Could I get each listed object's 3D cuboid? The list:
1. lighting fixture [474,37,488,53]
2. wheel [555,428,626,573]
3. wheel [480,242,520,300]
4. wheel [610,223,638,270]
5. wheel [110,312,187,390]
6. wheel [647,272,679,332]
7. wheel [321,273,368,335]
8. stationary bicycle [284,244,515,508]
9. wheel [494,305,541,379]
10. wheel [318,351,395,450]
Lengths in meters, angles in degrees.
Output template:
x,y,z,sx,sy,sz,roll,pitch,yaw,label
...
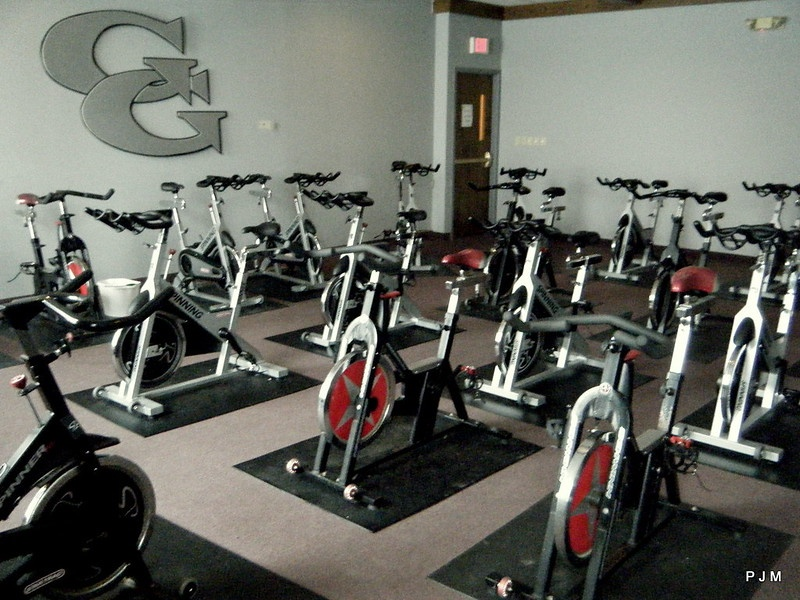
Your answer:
x,y,z,sx,sy,sz,roll,pitch,yaw,label
1.305,-4.032,9.719,0.375,0.227,0.096,-7,13,-40,lighting fixture
0.712,0.768,2.308,0.368,0.508,0.113,-16,25,-41,wheel
1.061,-0.264,6.327,0.220,0.557,0.617,5,7,-23,wheel
2.894,-0.683,7.845,0.279,0.577,0.479,9,20,26,wheel
-1.615,0.333,3.955,0.108,0.491,0.638,19,8,34,wheel
2.257,0.039,5.217,0.087,0.481,0.442,8,39,34,wheel
-0.504,0.024,5.155,0.122,0.446,0.526,18,17,41,wheel
-0.333,0.382,3.733,1.077,1.209,1.543,9,12,42,stationary bicycle
0.802,0.301,4.109,0.100,0.497,0.575,7,11,45,wheel
-0.221,0.550,3.254,0.622,0.517,0.154,14,0,-41,wheel
